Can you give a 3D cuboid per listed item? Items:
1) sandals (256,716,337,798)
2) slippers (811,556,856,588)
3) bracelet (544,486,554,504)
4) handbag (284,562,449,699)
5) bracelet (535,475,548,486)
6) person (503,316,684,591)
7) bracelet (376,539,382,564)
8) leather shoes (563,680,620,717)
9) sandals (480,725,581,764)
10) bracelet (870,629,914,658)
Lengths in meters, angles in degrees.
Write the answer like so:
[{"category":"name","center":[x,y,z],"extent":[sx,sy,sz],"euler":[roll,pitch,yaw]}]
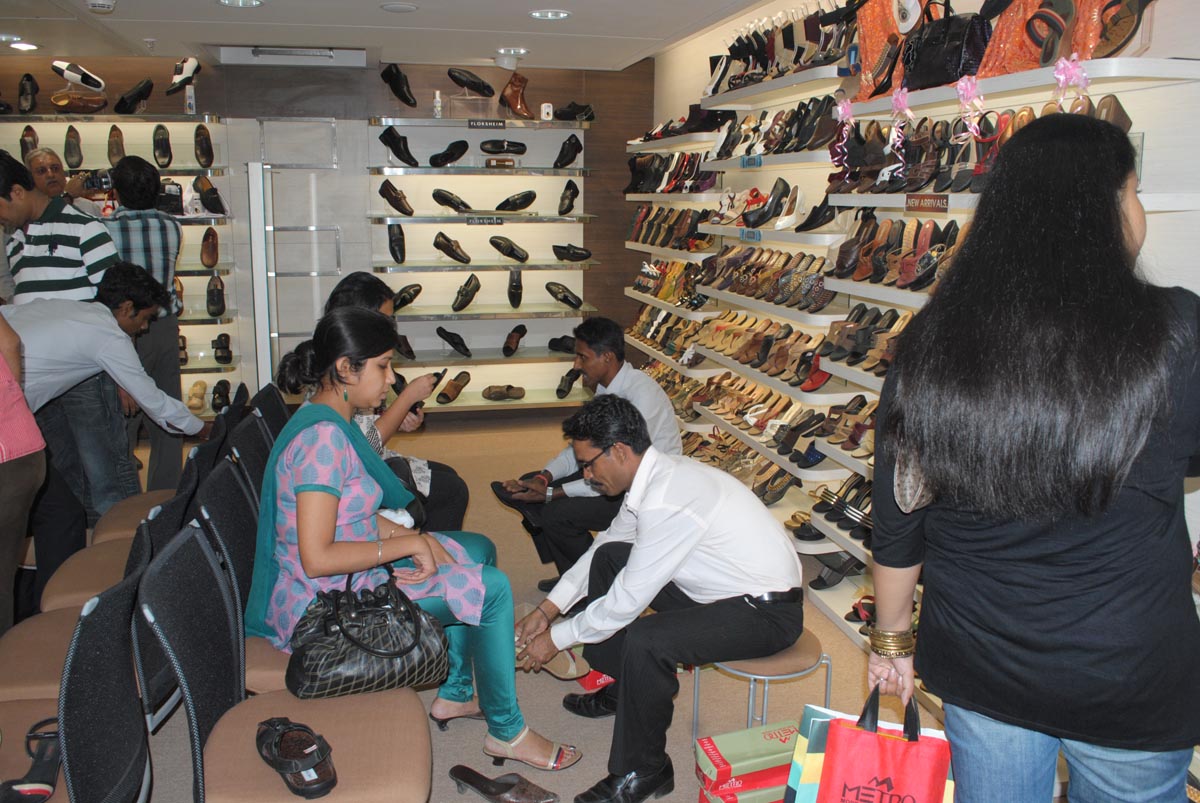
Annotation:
[{"category":"sandals","center":[-0.811,0.932,2.180],"extent":[0.129,0.079,0.229],"euler":[-13,31,-37]},{"category":"slippers","center":[1.224,0.858,4.183],"extent":[0.343,0.140,0.100],"euler":[-6,10,-32]},{"category":"bracelet","center":[-0.256,0.459,4.086],"extent":[0.037,0.060,0.061],"euler":[4,45,-5]},{"category":"handbag","center":[-0.697,0.610,2.550],"extent":[0.566,0.479,0.287],"euler":[-1,-3,-16]},{"category":"bracelet","center":[-0.295,0.398,4.124],"extent":[0.062,0.041,0.078],"euler":[-6,17,-19]},{"category":"person","center":[-0.086,0.302,4.278],"extent":[1.127,1.468,0.586],"euler":[-11,21,-17]},{"category":"bracelet","center":[-0.697,0.476,2.563],"extent":[0.014,0.054,0.041],"euler":[4,-4,-34]},{"category":"leather shoes","center":[-0.085,1.250,3.448],"extent":[0.320,0.126,0.104],"euler":[4,9,9]},{"category":"sandals","center":[-0.259,1.259,2.992],"extent":[0.362,0.132,0.144],"euler":[-1,11,-7]},{"category":"bracelet","center":[0.721,0.603,2.013],"extent":[0.085,0.049,0.082],"euler":[-2,-1,-5]}]
